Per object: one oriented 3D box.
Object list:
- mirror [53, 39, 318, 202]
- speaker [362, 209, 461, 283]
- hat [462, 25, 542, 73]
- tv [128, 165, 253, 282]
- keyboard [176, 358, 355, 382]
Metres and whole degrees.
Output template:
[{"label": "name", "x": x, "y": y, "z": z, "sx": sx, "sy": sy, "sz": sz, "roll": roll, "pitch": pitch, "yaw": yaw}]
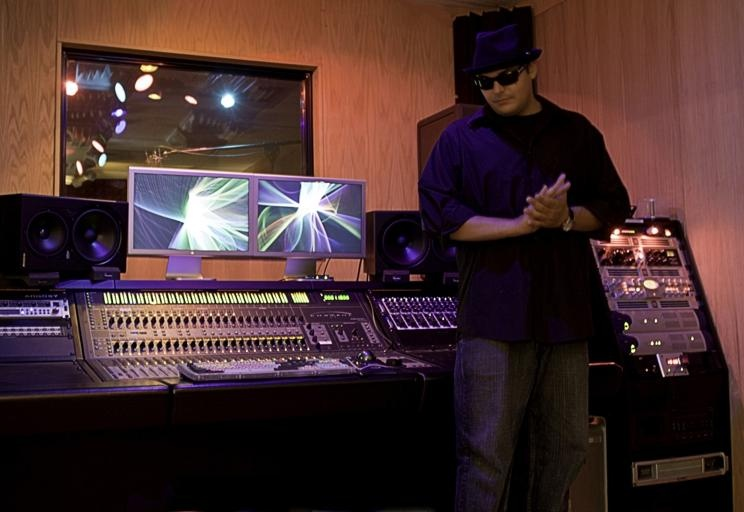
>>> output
[{"label": "mirror", "x": -1.267, "y": -0.934, "z": 4.121, "sx": 1.158, "sy": 0.747, "sz": 0.043, "roll": 1, "pitch": -5, "yaw": -23}, {"label": "speaker", "x": 0.218, "y": -0.026, "z": 3.360, "sx": 0.575, "sy": 0.449, "sz": 0.358, "roll": 1, "pitch": -6, "yaw": -11}, {"label": "hat", "x": 0.505, "y": -0.794, "z": 2.367, "sx": 0.186, "sy": 0.092, "sz": 0.231, "roll": -12, "pitch": 10, "yaw": 33}, {"label": "tv", "x": -0.989, "y": -0.183, "z": 3.311, "sx": 0.666, "sy": 0.627, "sz": 0.195, "roll": 3, "pitch": -14, "yaw": -21}, {"label": "keyboard", "x": -0.433, "y": 0.458, "z": 2.581, "sx": 0.719, "sy": 0.049, "sz": 0.296, "roll": -1, "pitch": 4, "yaw": -16}]
